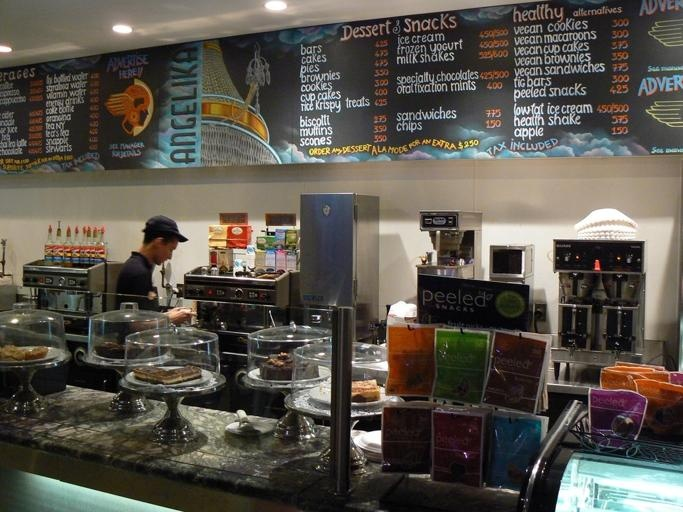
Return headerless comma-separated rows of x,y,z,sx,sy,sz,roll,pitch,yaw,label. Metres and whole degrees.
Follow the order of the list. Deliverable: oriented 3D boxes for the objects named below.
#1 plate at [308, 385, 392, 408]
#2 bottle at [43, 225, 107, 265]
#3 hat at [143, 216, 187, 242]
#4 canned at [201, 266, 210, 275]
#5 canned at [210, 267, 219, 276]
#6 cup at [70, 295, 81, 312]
0.026,0.483,1.898,0.274,0.066,0.196,1,2,-4,plate
-2.560,-0.098,5.355,0.393,0.372,0.095,1,2,8,bottle
-1.281,-0.194,4.030,0.261,0.142,0.190,4,1,-41,hat
-1.123,0.123,4.562,0.064,0.077,0.064,2,-1,4,canned
-1.030,0.129,4.471,0.063,0.059,0.064,4,4,38,canned
-1.278,0.233,2.675,0.054,0.091,0.090,1,2,-16,cup
